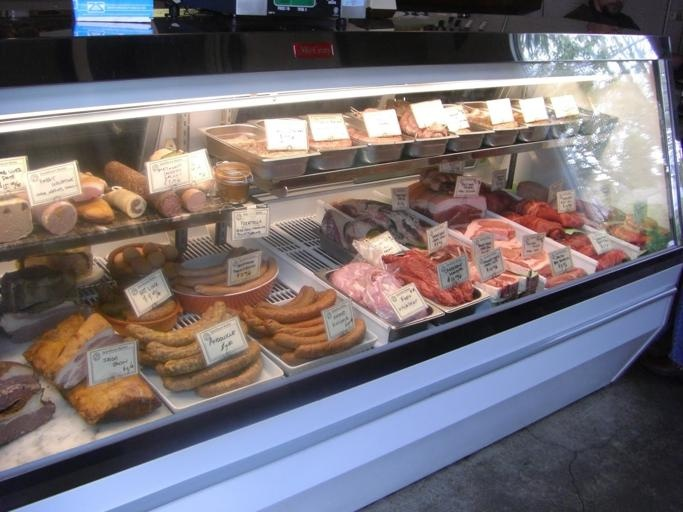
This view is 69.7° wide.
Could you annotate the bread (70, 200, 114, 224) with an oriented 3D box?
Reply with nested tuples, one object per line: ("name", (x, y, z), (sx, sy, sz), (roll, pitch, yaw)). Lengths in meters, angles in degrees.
("bread", (-0.879, -0.161, 1.756), (0.117, 0.028, 0.074), (24, 38, 19))

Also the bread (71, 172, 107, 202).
("bread", (-0.921, -0.257, 1.800), (0.075, 0.085, 0.152), (-3, 30, -3))

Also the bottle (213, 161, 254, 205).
("bottle", (-0.441, -0.302, 2.083), (0.178, 0.141, 0.189), (5, 27, -3))
